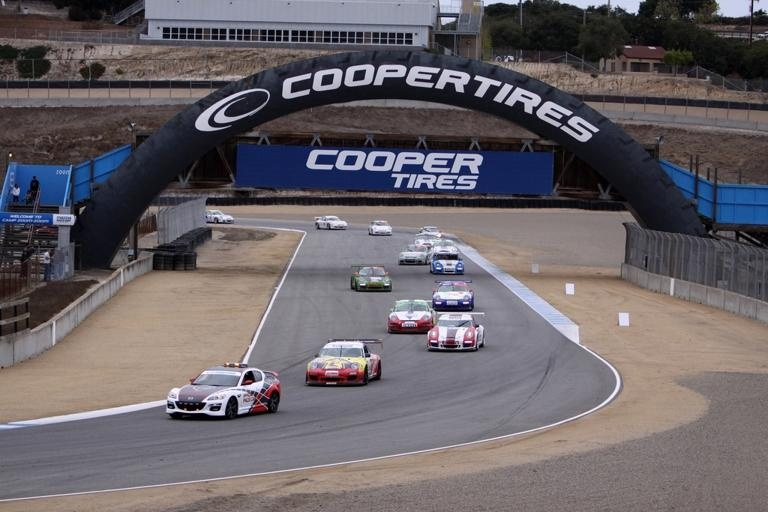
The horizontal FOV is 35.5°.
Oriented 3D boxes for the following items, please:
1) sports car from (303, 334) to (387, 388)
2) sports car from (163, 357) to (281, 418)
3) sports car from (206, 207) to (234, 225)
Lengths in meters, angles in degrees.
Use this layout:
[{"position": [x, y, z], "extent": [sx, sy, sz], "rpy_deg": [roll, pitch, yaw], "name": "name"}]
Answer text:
[{"position": [-1.935, 5.271, 60.498], "extent": [3.202, 1.690, 5.398], "rpy_deg": [0, 3, 10], "name": "sports car"}, {"position": [-7.411, 6.318, 56.379], "extent": [3.249, 2.098, 5.755], "rpy_deg": [0, -1, 25], "name": "sports car"}, {"position": [-16.975, -3.957, 124.001], "extent": [2.516, 1.138, 2.160], "rpy_deg": [-6, 16, -21], "name": "sports car"}]
